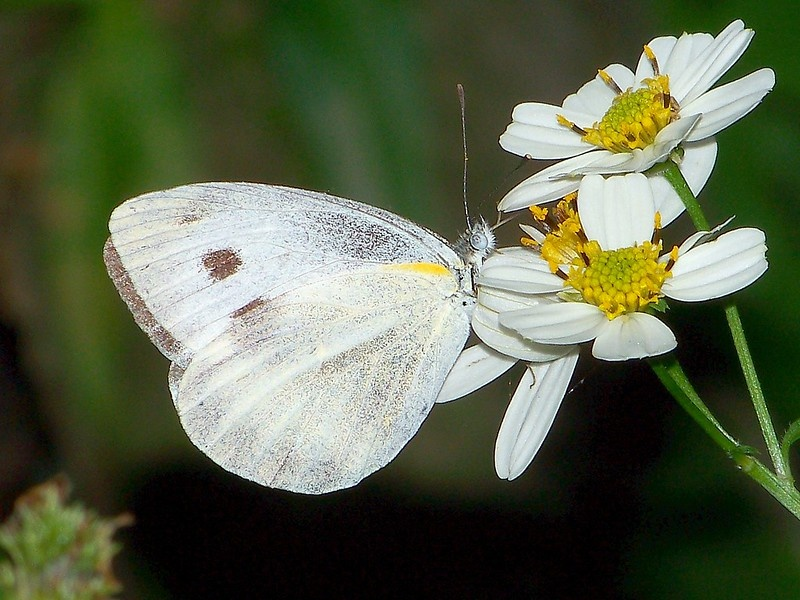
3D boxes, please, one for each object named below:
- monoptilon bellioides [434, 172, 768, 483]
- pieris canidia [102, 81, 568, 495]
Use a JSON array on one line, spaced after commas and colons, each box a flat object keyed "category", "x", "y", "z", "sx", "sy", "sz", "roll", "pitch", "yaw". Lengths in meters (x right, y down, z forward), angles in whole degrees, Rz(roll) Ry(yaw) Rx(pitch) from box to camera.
[{"category": "monoptilon bellioides", "x": 0.804, "y": -0.101, "z": 3.520, "sx": 1.293, "sy": 0.400, "sz": 1.222, "roll": -33, "pitch": 46, "yaw": 14}, {"category": "pieris canidia", "x": -0.330, "y": 0.016, "z": 4.029, "sx": 1.729, "sy": 2.936, "sz": 1.099, "roll": -10, "pitch": -6, "yaw": -35}]
